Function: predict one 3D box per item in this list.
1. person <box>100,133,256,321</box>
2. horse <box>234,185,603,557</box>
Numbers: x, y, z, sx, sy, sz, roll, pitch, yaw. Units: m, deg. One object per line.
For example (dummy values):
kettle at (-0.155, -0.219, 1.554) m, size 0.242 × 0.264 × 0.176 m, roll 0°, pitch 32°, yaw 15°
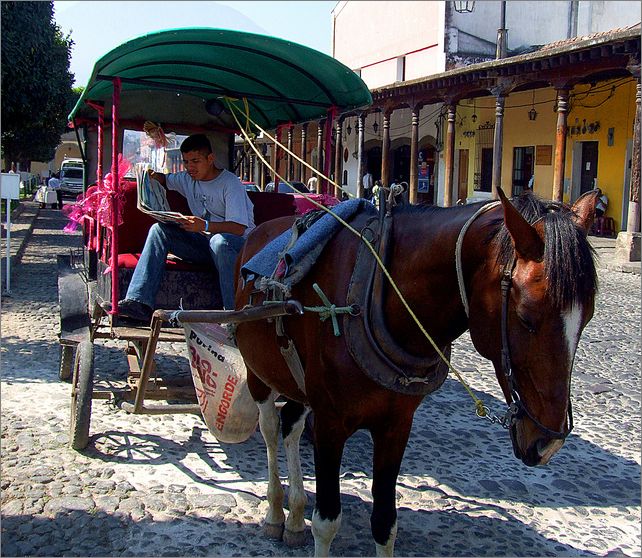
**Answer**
person at (-1.077, -0.409, 5.140) m, size 0.963 × 1.555 × 0.974 m, roll 1°, pitch -3°, yaw -11°
horse at (0.432, 0.485, 2.810) m, size 1.346 × 1.748 × 0.491 m, roll 5°, pitch 5°, yaw 27°
